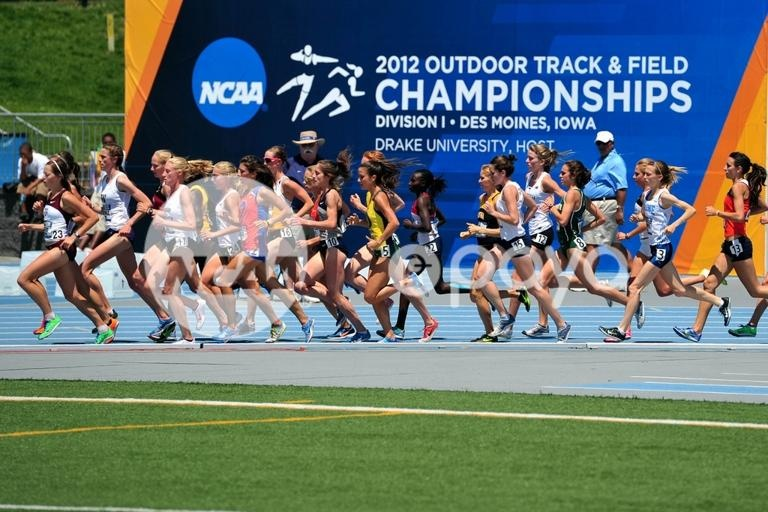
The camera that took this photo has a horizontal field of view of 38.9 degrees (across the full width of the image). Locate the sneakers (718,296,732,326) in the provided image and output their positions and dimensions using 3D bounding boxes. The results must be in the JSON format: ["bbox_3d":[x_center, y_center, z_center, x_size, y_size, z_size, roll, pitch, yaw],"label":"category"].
[{"bbox_3d":[5.014,0.834,16.048,0.213,0.493,0.172,-10,21,5],"label":"sneakers"}]

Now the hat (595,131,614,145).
[{"bbox_3d":[3.723,-1.970,18.414,0.347,0.258,0.482,0,-2,24],"label":"hat"}]

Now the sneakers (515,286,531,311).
[{"bbox_3d":[1.993,0.658,15.491,0.186,0.432,0.159,-13,36,13],"label":"sneakers"}]

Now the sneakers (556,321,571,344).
[{"bbox_3d":[2.446,1.058,14.859,0.142,0.333,0.117,16,-4,-12],"label":"sneakers"}]

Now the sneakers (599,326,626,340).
[{"bbox_3d":[3.115,1.064,14.821,0.355,0.141,0.118,25,-2,-5],"label":"sneakers"}]

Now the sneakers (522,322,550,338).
[{"bbox_3d":[2.165,1.089,15.747,0.460,0.211,0.168,-1,2,-2],"label":"sneakers"}]
